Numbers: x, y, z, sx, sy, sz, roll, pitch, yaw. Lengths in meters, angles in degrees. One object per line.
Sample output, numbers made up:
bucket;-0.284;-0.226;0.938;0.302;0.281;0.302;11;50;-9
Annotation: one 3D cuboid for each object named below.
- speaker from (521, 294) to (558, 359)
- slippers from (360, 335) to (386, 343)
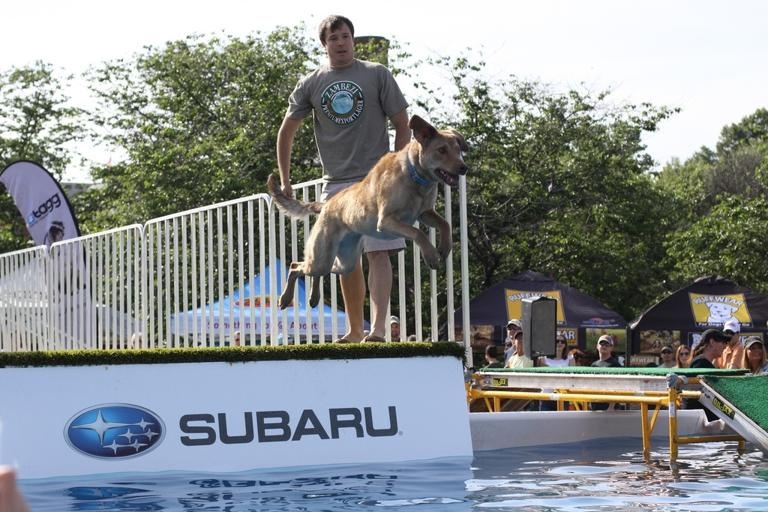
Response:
speaker;3.745;1.705;37.450;0.690;1.564;0.713;0;0;-3
slippers;-0.227;1.856;34.099;0.480;0.139;0.194;-2;-4;10
